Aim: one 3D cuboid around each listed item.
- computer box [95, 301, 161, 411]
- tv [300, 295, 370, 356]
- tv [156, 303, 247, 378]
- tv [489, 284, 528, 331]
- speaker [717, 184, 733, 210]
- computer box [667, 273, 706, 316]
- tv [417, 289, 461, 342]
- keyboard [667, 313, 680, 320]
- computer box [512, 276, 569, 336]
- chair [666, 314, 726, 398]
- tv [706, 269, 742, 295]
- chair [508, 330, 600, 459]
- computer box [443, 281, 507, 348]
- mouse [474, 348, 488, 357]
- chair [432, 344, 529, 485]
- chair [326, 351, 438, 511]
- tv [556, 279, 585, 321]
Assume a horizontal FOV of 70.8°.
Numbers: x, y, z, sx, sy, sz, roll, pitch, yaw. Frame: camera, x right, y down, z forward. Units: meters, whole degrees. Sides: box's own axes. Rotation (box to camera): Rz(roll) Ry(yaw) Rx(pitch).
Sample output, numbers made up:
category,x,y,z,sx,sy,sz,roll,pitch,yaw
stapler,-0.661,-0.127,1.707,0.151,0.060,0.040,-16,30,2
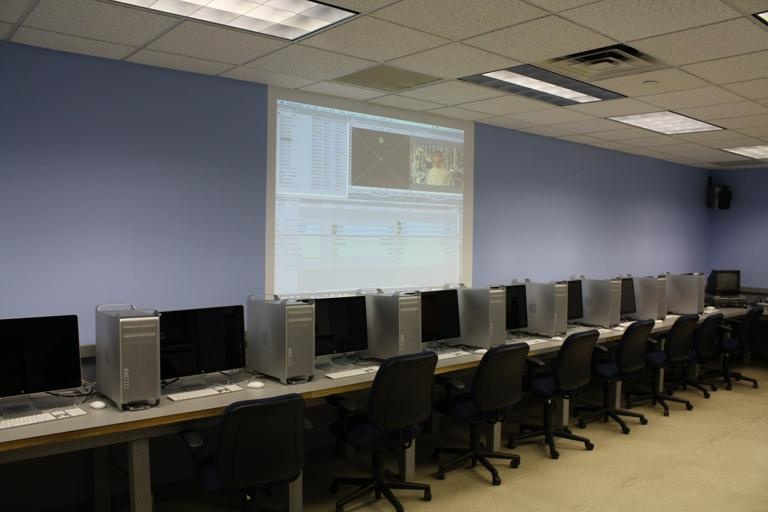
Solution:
category,x,y,z,sx,sy,sz,roll,pitch,yaw
computer box,-1.807,0.695,3.816,0.349,0.623,0.511,-6,9,-38
tv,-0.362,0.601,4.724,0.605,0.469,0.071,-10,-13,33
tv,-1.414,0.663,4.174,0.637,0.391,0.048,-1,-2,-37
tv,1.279,0.528,5.602,0.561,0.497,0.291,-2,0,-32
speaker,6.007,-1.031,9.501,0.292,0.417,0.128,-5,9,-34
computer box,4.266,0.508,7.680,0.411,0.615,0.544,10,-3,14
tv,0.555,0.569,5.280,0.054,0.476,0.691,1,-10,-27
keyboard,3.930,0.822,7.361,0.206,0.043,0.127,-1,2,-42
computer box,1.548,0.560,5.870,0.641,0.807,0.436,-2,-1,41
chair,3.783,1.252,6.886,0.675,0.928,0.687,-14,-4,-6
tv,5.176,0.403,8.383,0.543,0.457,0.371,0,-3,9
chair,1.667,1.316,5.405,0.838,1.093,0.803,6,-5,-36
computer box,0.948,0.609,5.290,0.671,0.778,0.440,-2,-1,31
mouse,0.908,0.890,5.049,0.133,0.027,0.120,1,4,28
chair,0.820,1.351,4.872,0.901,1.072,0.924,8,-9,-40
chair,0.007,1.347,4.275,0.808,1.228,0.468,0,8,-5
tv,2.237,0.518,6.408,0.028,0.457,0.479,-2,-1,44
